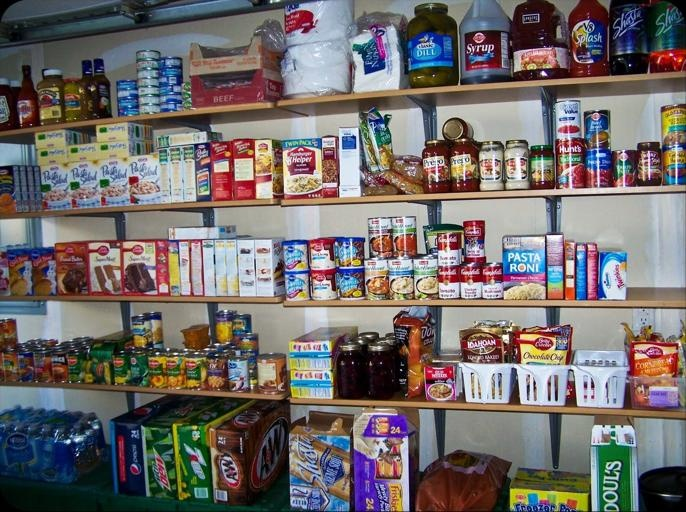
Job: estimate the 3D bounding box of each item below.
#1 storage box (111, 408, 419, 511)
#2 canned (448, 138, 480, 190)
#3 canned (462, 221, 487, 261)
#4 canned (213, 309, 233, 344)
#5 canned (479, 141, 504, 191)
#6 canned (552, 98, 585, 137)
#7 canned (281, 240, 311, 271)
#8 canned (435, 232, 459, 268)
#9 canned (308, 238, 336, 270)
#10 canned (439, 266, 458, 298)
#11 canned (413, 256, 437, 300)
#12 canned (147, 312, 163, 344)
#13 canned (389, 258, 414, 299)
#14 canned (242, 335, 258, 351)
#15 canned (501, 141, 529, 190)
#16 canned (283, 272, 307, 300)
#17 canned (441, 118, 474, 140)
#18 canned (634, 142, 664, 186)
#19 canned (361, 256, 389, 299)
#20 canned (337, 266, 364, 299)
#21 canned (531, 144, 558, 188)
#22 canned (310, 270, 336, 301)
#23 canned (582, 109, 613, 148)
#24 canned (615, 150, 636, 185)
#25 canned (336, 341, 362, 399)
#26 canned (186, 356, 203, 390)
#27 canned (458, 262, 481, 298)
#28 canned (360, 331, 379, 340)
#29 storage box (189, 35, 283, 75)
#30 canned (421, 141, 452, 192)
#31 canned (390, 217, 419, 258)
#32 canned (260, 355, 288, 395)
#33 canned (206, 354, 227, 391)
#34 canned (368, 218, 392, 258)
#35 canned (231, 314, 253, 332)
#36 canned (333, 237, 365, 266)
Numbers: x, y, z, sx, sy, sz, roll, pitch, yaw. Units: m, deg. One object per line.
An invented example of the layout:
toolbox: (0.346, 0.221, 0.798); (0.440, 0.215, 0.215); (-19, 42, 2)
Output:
storage box: (-0.615, 0.952, 2.962); (1.548, 0.406, 0.460); (1, 2, 14)
canned: (0.538, -0.396, 2.580); (0.130, 0.217, 0.100); (-3, 1, 21)
canned: (0.586, -0.066, 2.627); (0.094, 0.173, 0.071); (-3, 1, 10)
canned: (-0.604, 0.373, 3.086); (0.118, 0.160, 0.118); (-3, -2, 15)
canned: (0.635, -0.390, 2.569); (0.135, 0.199, 0.127); (-6, 11, -18)
canned: (0.947, -0.574, 2.470); (0.102, 0.150, 0.093); (-3, 1, 15)
canned: (-0.216, -0.002, 2.747); (0.152, 0.133, 0.139); (-1, -3, -7)
canned: (0.470, -0.026, 2.641); (0.122, 0.155, 0.113); (-1, 6, 18)
canned: (-0.098, -0.013, 2.774); (0.140, 0.129, 0.129); (-2, 1, -5)
canned: (0.494, 0.114, 2.643); (0.131, 0.123, 0.119); (-1, -1, -2)
canned: (0.371, 0.096, 2.615); (0.110, 0.183, 0.043); (-3, 1, 4)
canned: (-0.993, 0.401, 3.133); (0.063, 0.133, 0.057); (-4, -5, -19)
canned: (0.271, 0.099, 2.688); (0.135, 0.174, 0.128); (-5, 4, -26)
canned: (-0.452, 0.422, 2.887); (0.086, 0.079, 0.080); (1, 2, 9)
canned: (0.765, -0.393, 2.544); (0.134, 0.194, 0.121); (-11, 13, -25)
canned: (-0.211, 0.138, 2.754); (0.137, 0.125, 0.126); (-1, -3, 1)
canned: (0.508, -0.562, 2.607); (0.121, 0.100, 0.095); (-3, 1, -2)
canned: (1.259, -0.382, 2.449); (0.144, 0.171, 0.132); (-4, 5, -1)
canned: (0.167, 0.106, 2.712); (0.131, 0.174, 0.123); (-4, 2, -27)
canned: (0.027, 0.124, 2.757); (0.161, 0.145, 0.151); (-1, -3, 23)
canned: (0.861, -0.381, 2.533); (0.158, 0.173, 0.156); (2, 11, 34)
canned: (-0.089, 0.134, 2.724); (0.142, 0.138, 0.142); (-2, -1, 39)
canned: (1.068, -0.526, 2.486); (0.152, 0.161, 0.140); (-7, 11, -6)
canned: (1.161, -0.357, 2.422); (0.087, 0.133, 0.044); (-3, 1, 22)
canned: (0.038, 0.521, 2.675); (0.113, 0.248, 0.051); (-3, 1, 0)
canned: (-0.723, 0.558, 2.863); (0.105, 0.174, 0.042); (-3, 1, 32)
canned: (0.563, 0.110, 2.575); (0.095, 0.146, 0.037); (-3, 1, 10)
canned: (0.126, 0.386, 2.807); (0.091, 0.038, 0.088); (-3, 1, 0)
storage box: (-0.514, -0.955, 2.863); (0.402, 0.186, 0.185); (-3, 1, 15)
canned: (0.406, -0.393, 2.602); (0.137, 0.218, 0.082); (-3, 1, 24)
canned: (0.281, -0.089, 2.718); (0.152, 0.174, 0.141); (-5, 7, -16)
canned: (-0.335, 0.561, 2.826); (0.163, 0.152, 0.152); (-4, 2, -28)
canned: (-0.605, 0.556, 2.844); (0.084, 0.182, 0.099); (-4, 1, -30)
canned: (0.174, -0.085, 2.724); (0.103, 0.183, 0.133); (-3, 1, -6)
canned: (-0.508, 0.349, 3.053); (0.099, 0.091, 0.091); (0, -2, 4)
canned: (0.037, -0.020, 2.759); (0.144, 0.131, 0.138); (-1, -3, 25)
